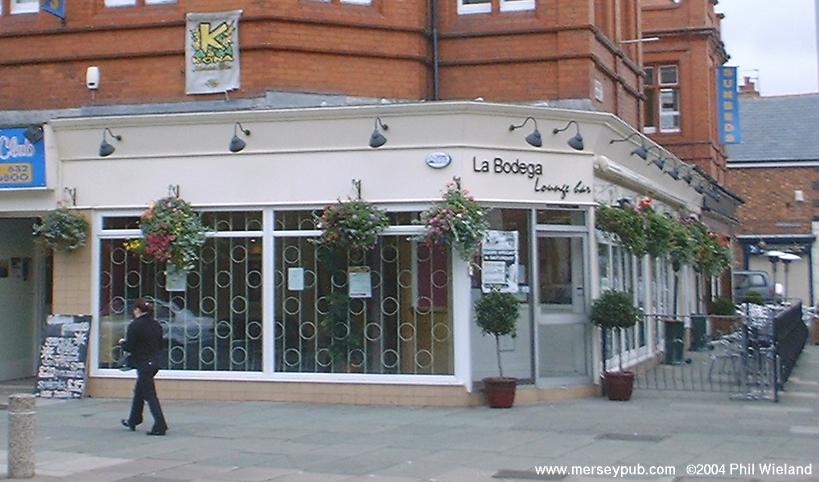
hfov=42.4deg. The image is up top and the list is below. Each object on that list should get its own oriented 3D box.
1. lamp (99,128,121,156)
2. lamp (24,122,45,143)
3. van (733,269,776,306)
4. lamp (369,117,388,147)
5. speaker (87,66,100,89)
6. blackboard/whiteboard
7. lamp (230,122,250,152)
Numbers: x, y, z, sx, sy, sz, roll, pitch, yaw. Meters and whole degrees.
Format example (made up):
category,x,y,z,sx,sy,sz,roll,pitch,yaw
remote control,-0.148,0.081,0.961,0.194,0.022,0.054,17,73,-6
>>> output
category,x,y,z,sx,sy,sz,roll,pitch,yaw
lamp,-7.260,-2.382,25.617,0.557,0.724,0.234,-1,10,-7
lamp,-9.126,-2.636,25.624,0.478,0.448,0.140,-32,1,8
van,14.581,1.986,44.743,2.634,1.200,1.425,1,-2,21
lamp,-0.687,-2.537,24.649,0.433,0.689,0.273,0,10,0
speaker,-7.838,-4.058,26.215,0.344,0.572,0.189,-2,10,-11
blackboard/whiteboard,-8.391,2.818,25.716,1.426,2.089,0.220,-2,-11,22
lamp,-4.032,-2.461,25.120,0.502,0.728,0.290,0,10,1
